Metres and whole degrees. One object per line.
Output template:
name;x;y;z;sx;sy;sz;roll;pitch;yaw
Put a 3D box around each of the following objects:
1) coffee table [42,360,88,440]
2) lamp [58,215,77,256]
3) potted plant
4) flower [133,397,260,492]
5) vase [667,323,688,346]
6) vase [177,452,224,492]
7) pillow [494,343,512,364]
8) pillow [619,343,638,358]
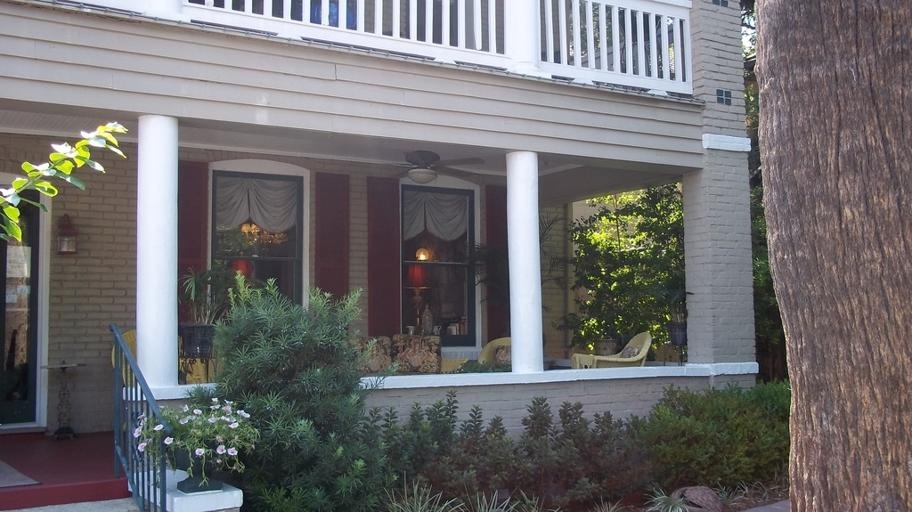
coffee table;-4.795;1.710;12.408;0.479;0.888;0.516;-1;-3;-2
lamp;-4.880;-0.284;12.725;0.237;0.502;0.087;3;-7;-24
potted plant;-3.089;0.647;12.633;0.629;1.573;0.706;2;-1;-21
flower;-2.603;1.846;10.128;0.981;0.686;0.970;10;-8;-32
vase;2.953;1.032;13.631;0.321;0.330;0.182;-1;-7;6
vase;-2.569;2.146;10.198;0.379;0.268;0.379;0;-4;-1
pillow;0.650;1.347;14.194;0.206;0.209;0.377;-2;16;15
pillow;2.378;1.299;14.103;0.154;0.156;0.047;5;-46;40
